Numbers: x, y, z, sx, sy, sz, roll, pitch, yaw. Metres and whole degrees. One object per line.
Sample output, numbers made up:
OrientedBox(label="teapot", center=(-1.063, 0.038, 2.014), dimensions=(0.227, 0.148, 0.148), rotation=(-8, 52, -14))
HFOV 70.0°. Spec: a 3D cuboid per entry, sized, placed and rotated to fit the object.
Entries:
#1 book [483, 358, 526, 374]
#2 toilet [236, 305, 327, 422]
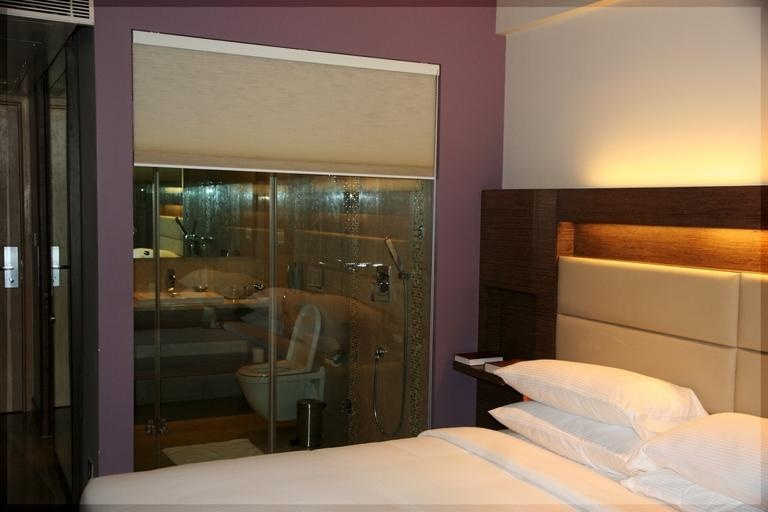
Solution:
OrientedBox(label="book", center=(0.798, 0.744, 3.687), dimensions=(0.165, 0.038, 0.164), rotation=(-1, 2, -7))
OrientedBox(label="toilet", center=(-0.741, 0.753, 3.907), dimensions=(0.599, 0.752, 0.360), rotation=(-1, 6, -33))
